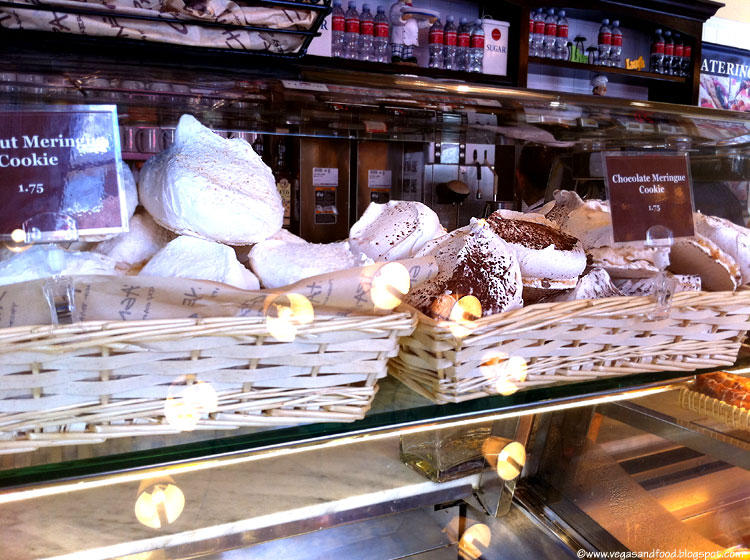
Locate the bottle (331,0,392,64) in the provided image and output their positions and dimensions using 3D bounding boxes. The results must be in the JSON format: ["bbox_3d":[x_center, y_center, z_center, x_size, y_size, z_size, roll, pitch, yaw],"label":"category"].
[{"bbox_3d":[-0.081,-1.364,3.050,0.203,0.313,0.414,14,20,32],"label":"bottle"}]

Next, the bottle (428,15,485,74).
[{"bbox_3d":[0.468,-1.361,3.223,0.330,0.309,0.190,3,18,3],"label":"bottle"}]
